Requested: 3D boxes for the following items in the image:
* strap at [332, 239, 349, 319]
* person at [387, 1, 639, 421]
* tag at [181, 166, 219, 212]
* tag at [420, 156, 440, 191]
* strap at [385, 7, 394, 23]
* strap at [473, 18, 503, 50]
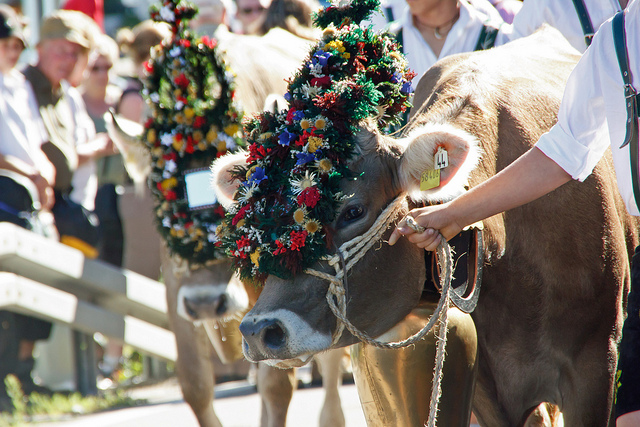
[{"bbox_3d":[0.165,0.421,9.807,0.064,0.509,0.127,-9,15,-7],"label":"strap"},{"bbox_3d":[1.555,0.011,9.907,1.478,2.620,0.987,-6,15,5],"label":"person"},{"bbox_3d":[-0.951,-0.190,11.390,0.309,0.344,0.081,-10,-9,10],"label":"tag"},{"bbox_3d":[0.756,-0.281,9.788,0.190,0.209,0.009,-7,-11,44],"label":"tag"},{"bbox_3d":[0.608,-1.674,12.365,0.112,0.136,0.033,-9,-19,32],"label":"strap"},{"bbox_3d":[1.357,-1.417,11.545,0.089,0.256,0.178,24,-9,-23],"label":"strap"}]
